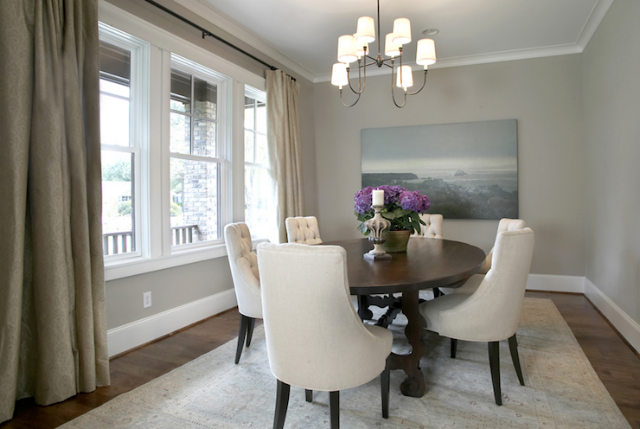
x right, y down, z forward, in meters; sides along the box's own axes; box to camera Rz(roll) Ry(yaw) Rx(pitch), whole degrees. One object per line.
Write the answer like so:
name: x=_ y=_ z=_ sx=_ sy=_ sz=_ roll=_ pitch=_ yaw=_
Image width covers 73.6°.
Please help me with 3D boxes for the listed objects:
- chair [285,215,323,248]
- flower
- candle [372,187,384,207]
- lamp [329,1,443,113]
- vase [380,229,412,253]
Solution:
chair: x=-0.169 y=0.168 z=4.493 sx=0.299 sy=0.322 sz=0.324 roll=-8 pitch=-3 yaw=37
flower: x=0.632 y=-0.033 z=3.834 sx=0.483 sy=0.343 sz=0.494 roll=1 pitch=4 yaw=5
candle: x=0.482 y=-0.128 z=3.534 sx=0.116 sy=0.198 sz=0.122 roll=0 pitch=1 yaw=-10
lamp: x=0.813 y=-1.752 z=4.860 sx=1.349 sy=1.042 sz=2.619 roll=0 pitch=14 yaw=3
vase: x=0.672 y=0.232 z=3.663 sx=0.206 sy=0.149 sz=0.211 roll=0 pitch=-4 yaw=0
